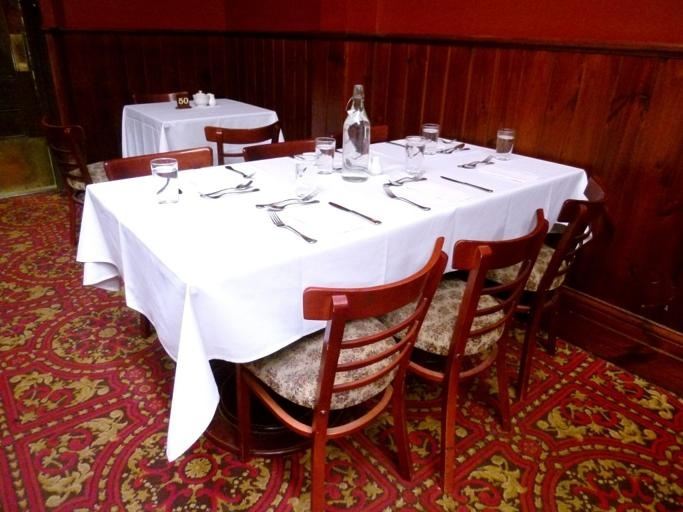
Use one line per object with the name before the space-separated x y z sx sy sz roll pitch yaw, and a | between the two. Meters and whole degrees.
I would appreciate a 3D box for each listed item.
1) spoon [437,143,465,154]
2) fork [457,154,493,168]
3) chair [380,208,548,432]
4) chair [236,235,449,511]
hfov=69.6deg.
spoon | 0.643 -0.627 2.890 0.030 0.025 0.182 37 46 27
fork | 0.729 -0.494 2.625 0.203 0.090 0.088 11 23 42
chair | 0.510 0.272 2.081 0.541 0.976 0.626 -18 37 -23
chair | -0.014 0.424 1.860 0.728 1.020 0.462 -14 33 -26
